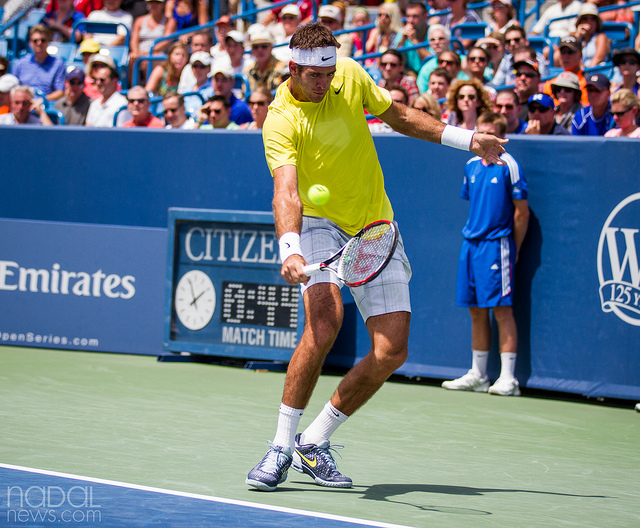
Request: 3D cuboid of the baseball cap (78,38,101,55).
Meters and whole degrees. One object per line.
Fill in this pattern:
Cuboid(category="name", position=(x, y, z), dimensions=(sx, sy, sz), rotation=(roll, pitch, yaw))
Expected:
Cuboid(category="baseball cap", position=(-3.005, -2.778, 14.710), dimensions=(0.248, 0.166, 0.446), rotation=(0, 10, -13))

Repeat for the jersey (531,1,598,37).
Cuboid(category="jersey", position=(2.872, -2.900, 13.705), dimensions=(0.402, 0.228, 0.570), rotation=(-10, 15, 38))

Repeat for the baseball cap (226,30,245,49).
Cuboid(category="baseball cap", position=(-1.050, -2.691, 13.803), dimensions=(0.197, 0.186, 0.300), rotation=(2, 9, 3))

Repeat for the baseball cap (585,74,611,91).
Cuboid(category="baseball cap", position=(2.542, -1.644, 10.431), dimensions=(0.174, 0.143, 0.266), rotation=(6, 10, 22))

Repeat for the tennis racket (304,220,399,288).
Cuboid(category="tennis racket", position=(0.234, -0.062, 6.935), dimensions=(0.453, 0.392, 0.300), rotation=(5, 10, 16))

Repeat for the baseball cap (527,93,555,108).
Cuboid(category="baseball cap", position=(1.961, -1.440, 10.143), dimensions=(0.226, 0.117, 0.194), rotation=(3, 10, 6))

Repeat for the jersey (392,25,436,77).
Cuboid(category="jersey", position=(1.051, -2.518, 13.660), dimensions=(0.459, 0.707, 0.251), rotation=(2, -4, 6))

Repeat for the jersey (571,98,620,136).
Cuboid(category="jersey", position=(2.516, -1.307, 10.349), dimensions=(0.327, 0.410, 0.209), rotation=(-11, -36, 23))

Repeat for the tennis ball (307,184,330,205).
Cuboid(category="tennis ball", position=(-0.018, -0.431, 7.150), dimensions=(0.133, 0.123, 0.241), rotation=(2, 10, -1))

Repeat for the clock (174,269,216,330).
Cuboid(category="clock", position=(-1.125, 0.332, 10.232), dimensions=(0.472, 0.626, 0.059), rotation=(-2, -6, 28))

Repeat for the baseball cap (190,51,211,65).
Cuboid(category="baseball cap", position=(-1.367, -2.293, 12.812), dimensions=(0.220, 0.143, 0.351), rotation=(0, 10, -9))

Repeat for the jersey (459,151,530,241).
Cuboid(category="jersey", position=(1.444, -0.545, 9.304), dimensions=(0.657, 0.843, 0.387), rotation=(2, 0, 39))
